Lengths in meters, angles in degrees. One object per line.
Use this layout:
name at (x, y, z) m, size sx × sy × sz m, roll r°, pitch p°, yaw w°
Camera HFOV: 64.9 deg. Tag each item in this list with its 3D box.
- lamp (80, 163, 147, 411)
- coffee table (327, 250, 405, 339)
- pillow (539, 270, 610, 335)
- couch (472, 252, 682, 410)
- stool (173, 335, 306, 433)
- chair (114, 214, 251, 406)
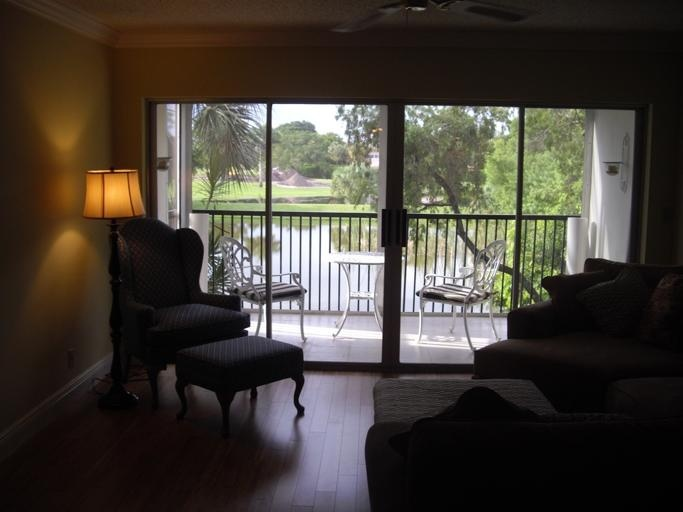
lamp at (-1.638, 0.201, 3.948) m, size 0.388 × 1.672 × 0.680 m, roll -5°, pitch 12°, yaw -25°
coffee table at (0.245, 0.369, 5.511) m, size 0.707 × 0.829 × 0.720 m, roll 0°, pitch 2°, yaw 3°
pillow at (1.667, 0.351, 3.827) m, size 0.403 × 0.427 × 0.125 m, roll -6°, pitch -10°, yaw -17°
couch at (1.677, 0.558, 3.698) m, size 1.051 × 1.030 × 1.016 m, roll 1°, pitch 0°, yaw 43°
stool at (-0.505, 0.851, 3.924) m, size 0.630 × 0.480 × 0.789 m, roll -7°, pitch 0°, yaw -8°
chair at (-1.120, 0.284, 4.654) m, size 1.160 × 1.795 × 1.226 m, roll 4°, pitch 5°, yaw 40°
